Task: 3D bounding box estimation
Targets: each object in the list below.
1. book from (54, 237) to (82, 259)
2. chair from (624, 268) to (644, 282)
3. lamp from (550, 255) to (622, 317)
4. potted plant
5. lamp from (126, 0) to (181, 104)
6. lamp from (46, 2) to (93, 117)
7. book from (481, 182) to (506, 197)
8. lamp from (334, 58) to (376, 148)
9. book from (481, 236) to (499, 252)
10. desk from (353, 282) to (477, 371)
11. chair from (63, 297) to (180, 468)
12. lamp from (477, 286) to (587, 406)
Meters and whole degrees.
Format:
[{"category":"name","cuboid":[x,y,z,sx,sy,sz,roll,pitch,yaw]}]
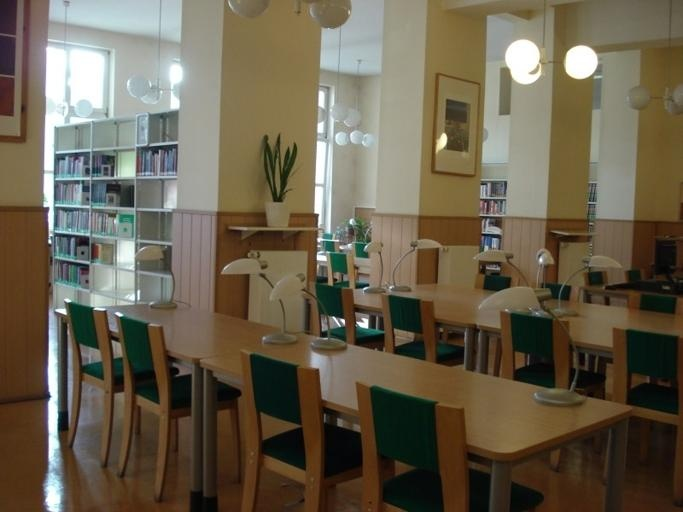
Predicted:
[{"category":"book","cuboid":[-3.481,-0.103,7.424,0.219,0.246,0.127,6,5,26]},{"category":"chair","cuboid":[3.085,0.201,6.188,0.102,0.126,0.332,5,8,37]},{"category":"lamp","cuboid":[1.669,0.201,4.013,0.183,0.438,0.464,1,3,-41]},{"category":"potted plant","cuboid":[-0.530,-0.688,5.294,0.393,0.837,0.281,-3,7,-32]},{"category":"lamp","cuboid":[-2.911,-3.048,9.090,0.734,1.520,3.229,-1,7,-16]},{"category":"lamp","cuboid":[-4.350,-3.032,9.274,0.595,1.637,1.544,-2,7,-25]},{"category":"book","cuboid":[2.749,-1.203,10.544,0.257,0.278,0.094,7,6,40]},{"category":"lamp","cuboid":[0.166,-2.914,10.495,0.639,1.527,0.626,-2,-12,6]},{"category":"book","cuboid":[2.347,-0.193,9.199,0.102,0.208,0.190,-6,11,-36]},{"category":"desk","cuboid":[0.508,0.488,4.066,0.439,0.327,0.579,-5,9,-39]},{"category":"chair","cuboid":[-1.408,0.753,3.695,0.588,0.924,0.524,-1,4,-43]},{"category":"lamp","cuboid":[0.957,0.344,2.825,0.416,0.489,0.990,3,7,23]}]
